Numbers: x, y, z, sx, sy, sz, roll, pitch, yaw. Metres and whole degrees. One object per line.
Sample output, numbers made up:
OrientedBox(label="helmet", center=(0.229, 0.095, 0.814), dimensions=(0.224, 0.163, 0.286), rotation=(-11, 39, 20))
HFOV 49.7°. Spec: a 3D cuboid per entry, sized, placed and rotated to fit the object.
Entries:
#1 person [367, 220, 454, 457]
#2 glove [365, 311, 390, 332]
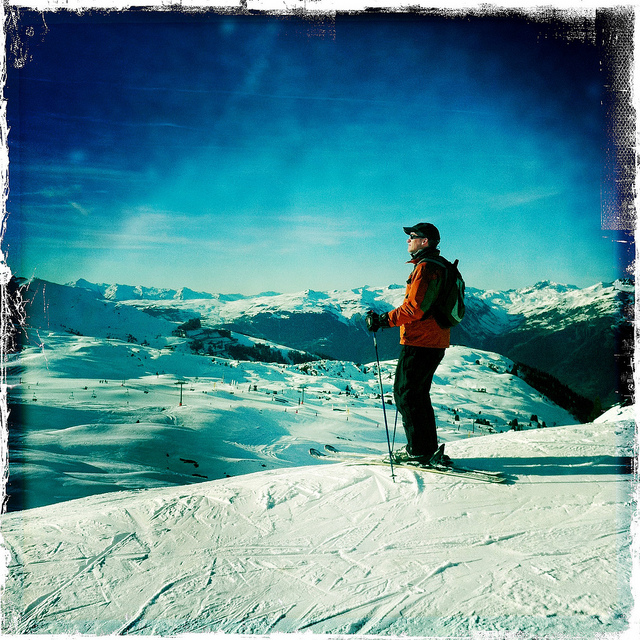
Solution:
OrientedBox(label="person", center=(1.284, 0.298, 9.528), dimensions=(0.982, 3.237, 1.165), rotation=(-5, -6, -23))
OrientedBox(label="glove", center=(0.788, 0.024, 9.664), dimensions=(0.306, 0.285, 0.596), rotation=(-7, -5, 0))
